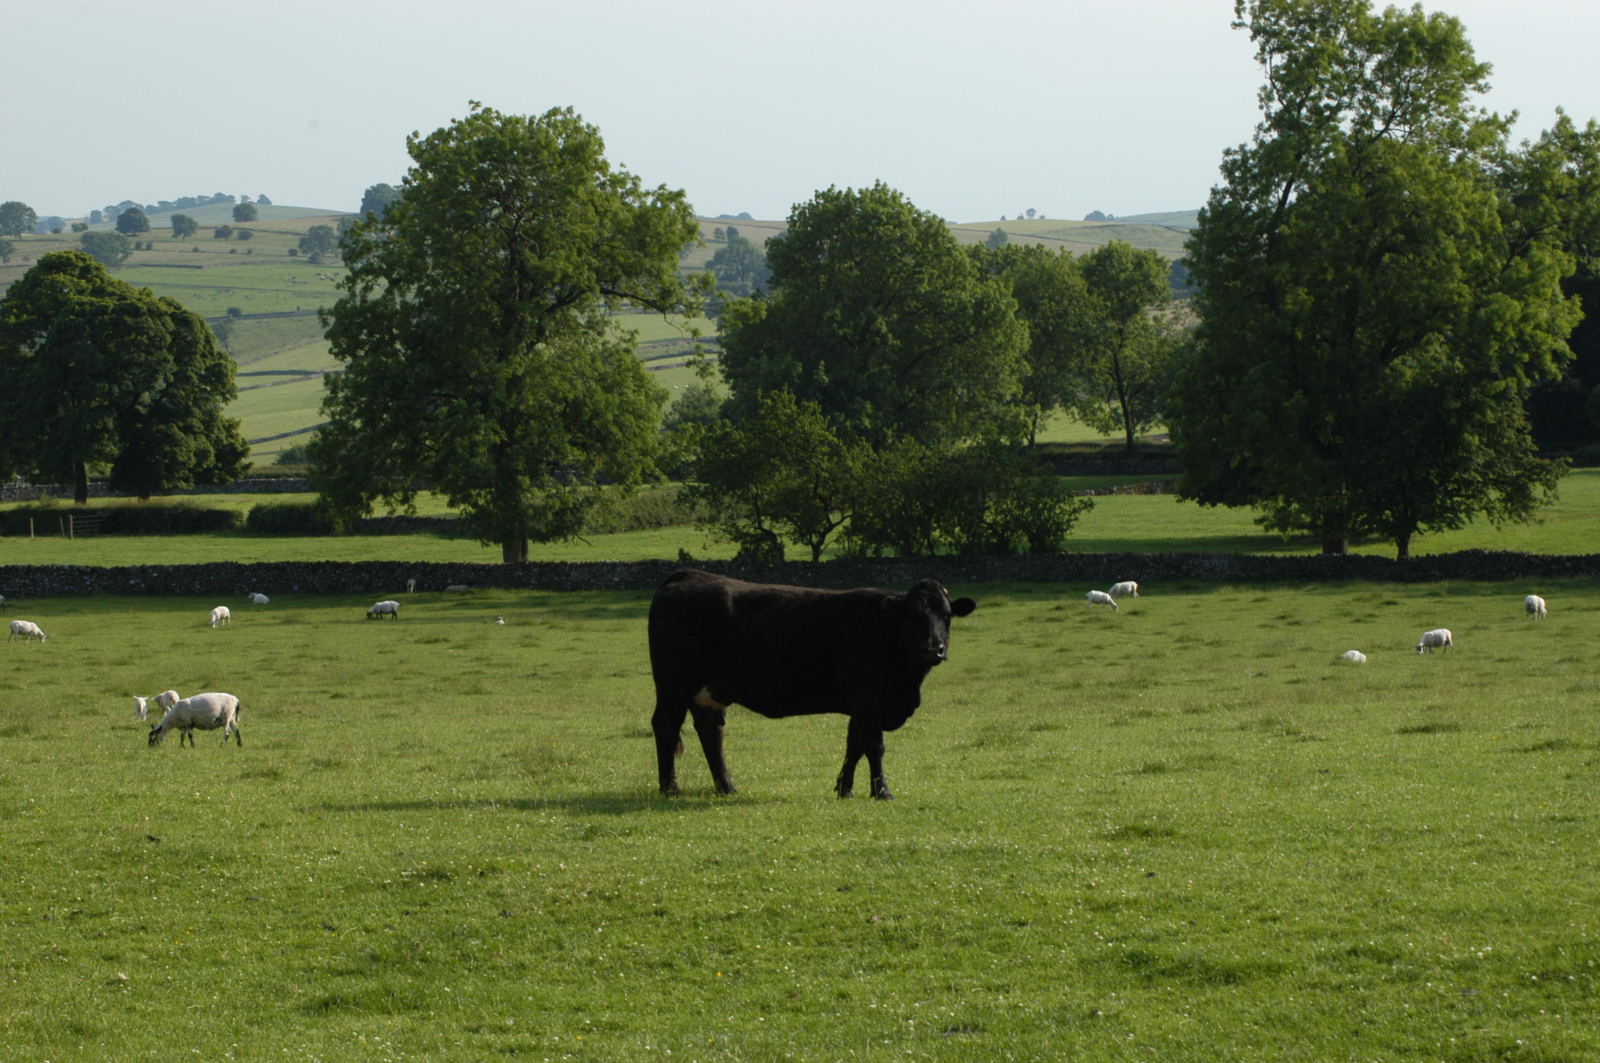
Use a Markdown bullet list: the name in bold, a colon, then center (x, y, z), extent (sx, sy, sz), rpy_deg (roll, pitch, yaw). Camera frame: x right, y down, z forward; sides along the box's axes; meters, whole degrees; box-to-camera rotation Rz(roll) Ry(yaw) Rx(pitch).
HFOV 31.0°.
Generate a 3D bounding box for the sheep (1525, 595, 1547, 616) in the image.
- **sheep**: center (27.764, 2.842, 108.396), extent (0.414, 0.671, 1.308), rpy_deg (-4, -14, 19)

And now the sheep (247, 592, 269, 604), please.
- **sheep**: center (-22.079, 2.716, 118.018), extent (0.366, 0.563, 1.085), rpy_deg (1, -4, -37)

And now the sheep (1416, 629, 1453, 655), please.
- **sheep**: center (22.802, 3.778, 102.886), extent (1.087, 0.639, 1.981), rpy_deg (7, 15, 30)

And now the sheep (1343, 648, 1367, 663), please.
- **sheep**: center (19.701, 4.369, 101.735), extent (1.066, 0.539, 0.339), rpy_deg (3, 3, -37)

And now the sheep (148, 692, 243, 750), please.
- **sheep**: center (-19.675, 6.000, 93.933), extent (3.032, 1.519, 2.787), rpy_deg (-4, 13, -12)

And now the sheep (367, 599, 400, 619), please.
- **sheep**: center (-16.450, 3.077, 114.244), extent (0.868, 0.521, 1.019), rpy_deg (0, -3, -18)
